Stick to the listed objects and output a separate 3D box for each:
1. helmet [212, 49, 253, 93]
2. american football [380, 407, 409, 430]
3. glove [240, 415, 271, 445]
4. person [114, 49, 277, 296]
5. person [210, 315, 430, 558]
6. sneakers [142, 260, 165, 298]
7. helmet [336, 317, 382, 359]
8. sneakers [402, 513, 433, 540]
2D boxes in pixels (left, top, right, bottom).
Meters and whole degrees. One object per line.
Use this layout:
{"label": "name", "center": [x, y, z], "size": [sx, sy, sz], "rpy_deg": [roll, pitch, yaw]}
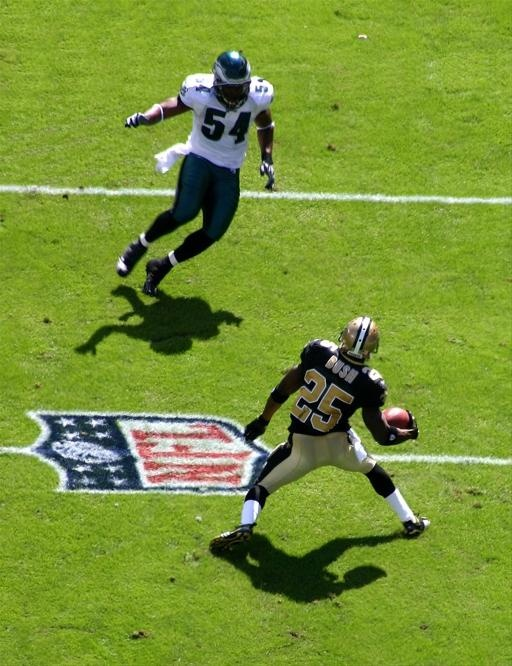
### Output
{"label": "helmet", "center": [-0.165, -1.976, 9.179], "size": [0.249, 0.254, 0.273], "rpy_deg": [-8, 94, -17]}
{"label": "american football", "center": [0.980, 0.590, 8.583], "size": [0.190, 0.146, 0.129], "rpy_deg": [14, 48, -18]}
{"label": "glove", "center": [-0.009, 0.732, 9.023], "size": [0.117, 0.316, 0.097], "rpy_deg": [-32, 86, -37]}
{"label": "person", "center": [-0.445, -1.254, 9.660], "size": [0.949, 1.881, 1.492], "rpy_deg": [25, 59, 19]}
{"label": "person", "center": [0.454, 0.834, 8.791], "size": [1.430, 1.231, 0.817], "rpy_deg": [-29, 53, -34]}
{"label": "sneakers", "center": [-0.870, -0.441, 9.838], "size": [0.130, 0.334, 0.158], "rpy_deg": [31, 37, 8]}
{"label": "helmet", "center": [0.704, 0.027, 8.302], "size": [0.235, 0.246, 0.295], "rpy_deg": [8, 47, 5]}
{"label": "sneakers", "center": [1.139, 1.384, 8.632], "size": [0.217, 0.143, 0.105], "rpy_deg": [-34, 34, 0]}
